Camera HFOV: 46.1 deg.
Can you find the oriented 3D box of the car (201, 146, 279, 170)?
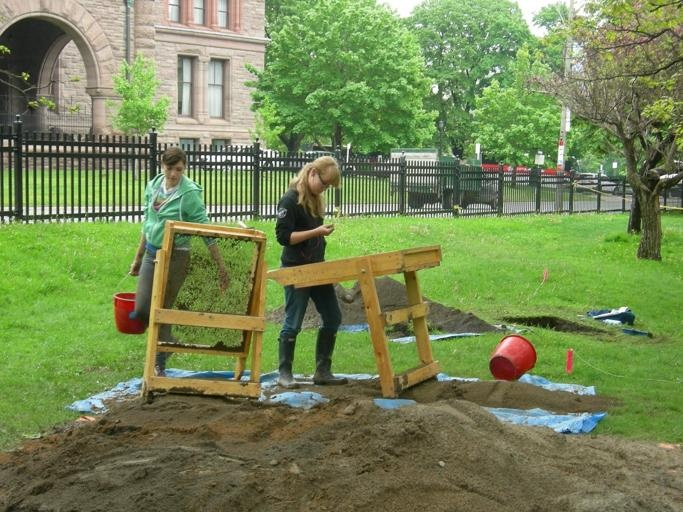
[{"bbox_3d":[-2.559,-2.487,20.464,1.899,0.600,1.206,0,1,-25],"label":"car"}]

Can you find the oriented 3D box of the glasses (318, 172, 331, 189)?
[{"bbox_3d":[-0.177,-0.867,9.322,0.149,0.192,0.220,2,6,10],"label":"glasses"}]

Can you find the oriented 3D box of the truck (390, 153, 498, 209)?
[{"bbox_3d":[2.992,-2.504,27.396,1.711,1.495,2.995,-11,7,-7],"label":"truck"}]

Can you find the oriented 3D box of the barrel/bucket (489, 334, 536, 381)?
[{"bbox_3d":[2.100,1.293,9.996,0.419,0.513,0.664,6,7,38],"label":"barrel/bucket"}]

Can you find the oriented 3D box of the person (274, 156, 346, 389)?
[{"bbox_3d":[-0.371,0.193,9.431,0.780,2.692,0.578,1,6,-3],"label":"person"}]

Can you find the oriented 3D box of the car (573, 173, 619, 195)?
[{"bbox_3d":[11.425,-3.126,35.379,1.749,0.784,5.938,3,6,19],"label":"car"}]

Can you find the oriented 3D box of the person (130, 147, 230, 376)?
[{"bbox_3d":[-1.997,0.091,9.557,1.250,2.733,0.797,2,6,6],"label":"person"}]
